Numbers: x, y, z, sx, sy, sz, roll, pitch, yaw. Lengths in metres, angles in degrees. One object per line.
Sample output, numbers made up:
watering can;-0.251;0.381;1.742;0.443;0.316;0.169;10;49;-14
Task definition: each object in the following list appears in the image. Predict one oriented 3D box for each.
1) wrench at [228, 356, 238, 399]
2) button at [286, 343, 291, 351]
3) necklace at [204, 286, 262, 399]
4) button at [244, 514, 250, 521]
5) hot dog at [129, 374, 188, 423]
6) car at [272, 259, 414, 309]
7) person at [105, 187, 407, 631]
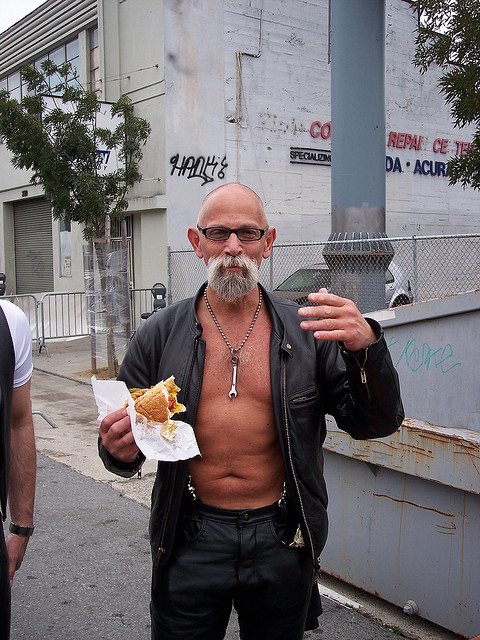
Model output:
wrench;-0.020;0.171;1.580;0.024;0.113;0.063;0;2;5
button;0.143;0.083;1.589;0.014;0.021;0.003;-4;-15;-10
necklace;-0.017;0.067;1.684;0.187;0.317;0.276;-1;2;-3
button;0.019;0.556;1.497;0.015;0.018;0.005;-2;2;-31
hot dog;-0.206;0.225;1.361;0.097;0.055;0.114;18;18;15
car;2.168;-0.410;10.059;2.089;1.224;1.078;-4;-2;2
person;0.021;0.325;1.554;0.780;1.460;0.726;-1;2;-5
